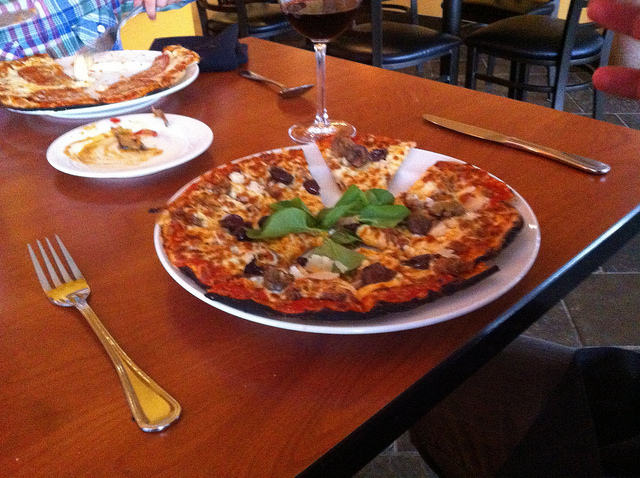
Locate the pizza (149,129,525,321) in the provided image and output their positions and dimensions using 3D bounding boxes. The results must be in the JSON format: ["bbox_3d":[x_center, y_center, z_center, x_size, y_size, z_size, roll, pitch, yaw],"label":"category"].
[{"bbox_3d":[0.021,-0.023,0.505,0.364,0.059,0.326,15,35,21],"label":"pizza"}]

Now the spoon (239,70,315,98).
[{"bbox_3d":[-0.098,-0.335,0.951,0.061,0.037,0.227,-30,37,-36],"label":"spoon"}]

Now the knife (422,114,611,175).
[{"bbox_3d":[0.292,-0.137,0.676,0.268,0.013,0.039,26,59,29],"label":"knife"}]

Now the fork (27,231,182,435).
[{"bbox_3d":[-0.198,0.091,0.426,0.034,0.026,0.235,-33,58,-32],"label":"fork"}]
